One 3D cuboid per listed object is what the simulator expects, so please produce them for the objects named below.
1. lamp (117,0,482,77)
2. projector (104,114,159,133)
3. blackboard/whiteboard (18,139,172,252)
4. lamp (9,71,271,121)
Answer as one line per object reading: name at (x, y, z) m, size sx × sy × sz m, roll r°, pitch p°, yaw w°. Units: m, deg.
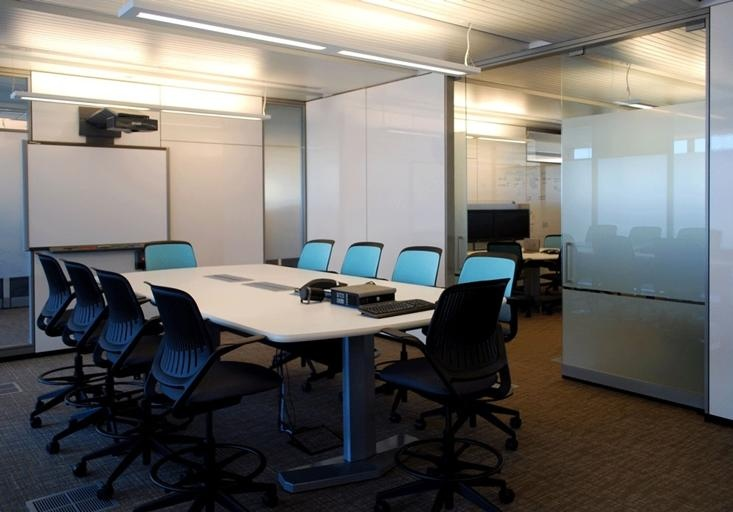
lamp at (-0.572, -1.952, 4.858) m, size 3.049 × 0.150 × 0.385 m, roll -3°, pitch 7°, yaw -28°
projector at (-3.105, -1.769, 7.078) m, size 0.593 × 0.202 × 0.269 m, roll -3°, pitch 7°, yaw -28°
blackboard/whiteboard at (-3.625, -0.847, 7.523) m, size 0.236 × 1.408 × 2.079 m, roll 13°, pitch 13°, yaw 38°
lamp at (-2.831, -2.203, 7.377) m, size 3.490 × 0.536 × 1.294 m, roll -3°, pitch 8°, yaw -34°
